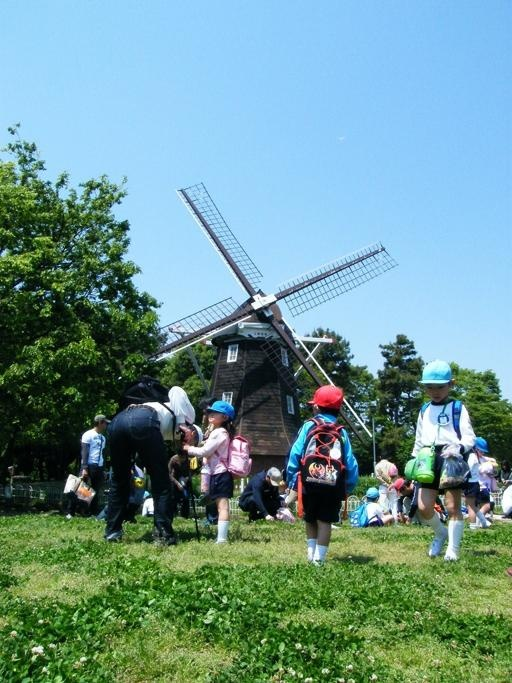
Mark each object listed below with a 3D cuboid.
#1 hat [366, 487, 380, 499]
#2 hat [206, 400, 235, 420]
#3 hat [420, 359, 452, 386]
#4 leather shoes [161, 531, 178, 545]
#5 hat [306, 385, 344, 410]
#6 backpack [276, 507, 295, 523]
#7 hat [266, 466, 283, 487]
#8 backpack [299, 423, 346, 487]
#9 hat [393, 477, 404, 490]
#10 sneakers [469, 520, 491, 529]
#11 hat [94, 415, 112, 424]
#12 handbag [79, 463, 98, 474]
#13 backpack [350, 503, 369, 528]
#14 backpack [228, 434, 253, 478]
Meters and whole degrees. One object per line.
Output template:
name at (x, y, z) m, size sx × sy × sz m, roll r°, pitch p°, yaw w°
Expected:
hat at (2.212, 2.850, 12.718) m, size 0.236 × 0.143 × 0.296 m, roll 2°, pitch -6°, yaw 26°
hat at (-0.386, 0.777, 8.116) m, size 0.324 × 0.142 × 0.225 m, roll 25°, pitch -19°, yaw -11°
hat at (1.836, 0.319, 6.859) m, size 0.304 × 0.260 × 0.329 m, roll -1°, pitch -11°, yaw 13°
leather shoes at (-0.914, 2.069, 7.092) m, size 0.179 × 0.105 × 0.345 m, roll 3°, pitch -10°, yaw -8°
hat at (0.677, 0.542, 6.656) m, size 0.301 × 0.148 × 0.242 m, roll 11°, pitch 7°, yaw 40°
backpack at (0.510, 2.997, 11.702) m, size 0.345 × 0.237 × 0.123 m, roll 25°, pitch -41°, yaw 4°
hat at (0.307, 2.285, 11.401) m, size 0.212 × 0.300 × 0.687 m, roll 0°, pitch -10°, yaw 7°
backpack at (0.615, 1.043, 6.123) m, size 0.485 × 0.629 × 0.371 m, roll 5°, pitch -43°, yaw 6°
hat at (2.654, 2.626, 12.546) m, size 0.146 × 0.199 × 0.208 m, roll 30°, pitch 50°, yaw 31°
sneakers at (3.419, 2.778, 10.303) m, size 0.274 × 0.061 × 0.076 m, roll 3°, pitch 9°, yaw -15°
hat at (-2.732, 1.399, 12.329) m, size 0.390 × 0.162 × 0.240 m, roll 2°, pitch -4°, yaw -29°
handbag at (-3.019, 2.302, 12.317) m, size 0.238 × 0.212 × 0.216 m, roll 3°, pitch -2°, yaw -20°
backpack at (1.682, 2.786, 10.945) m, size 0.267 × 0.361 × 0.442 m, roll 0°, pitch -11°, yaw 7°
backpack at (-0.208, 1.402, 8.275) m, size 0.266 × 0.502 × 0.607 m, roll 2°, pitch -10°, yaw -2°
